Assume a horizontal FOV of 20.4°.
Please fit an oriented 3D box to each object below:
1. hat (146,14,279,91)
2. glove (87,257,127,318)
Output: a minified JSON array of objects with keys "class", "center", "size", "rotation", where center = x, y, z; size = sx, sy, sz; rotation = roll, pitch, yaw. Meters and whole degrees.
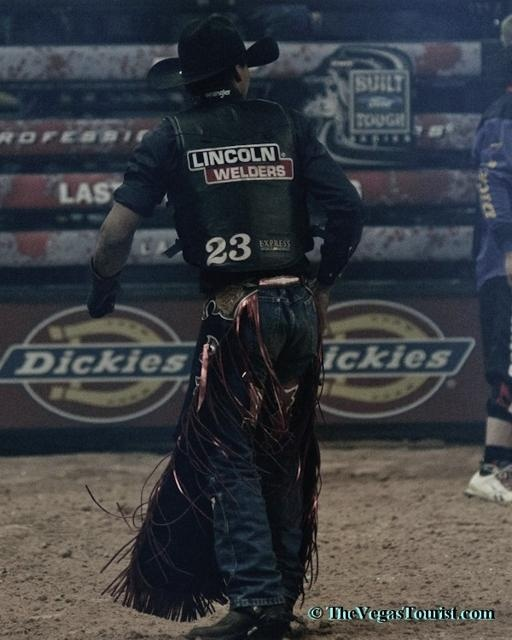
[{"class":"hat","center":[-0.188,-1.071,5.603],"size":[0.534,0.197,0.487],"rotation":[-18,13,-40]},{"class":"glove","center":[-0.552,-0.125,5.618],"size":[0.108,0.181,0.264],"rotation":[9,28,2]}]
